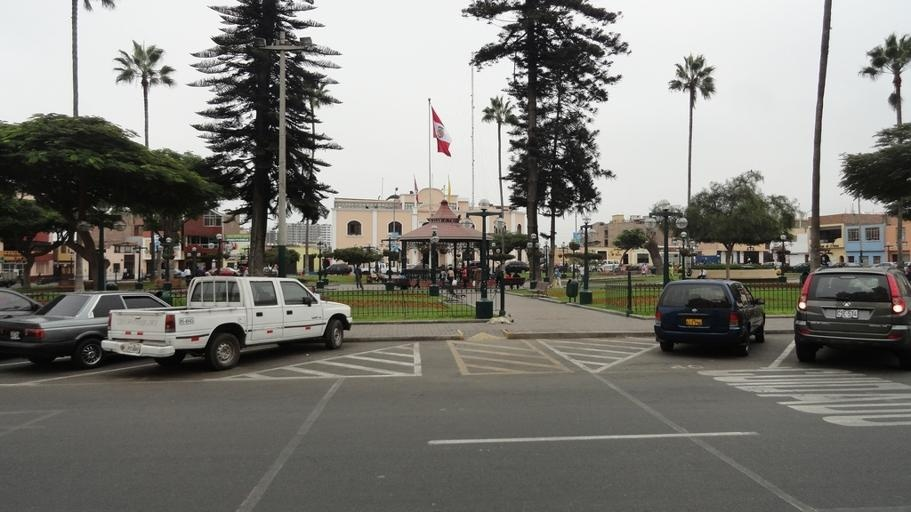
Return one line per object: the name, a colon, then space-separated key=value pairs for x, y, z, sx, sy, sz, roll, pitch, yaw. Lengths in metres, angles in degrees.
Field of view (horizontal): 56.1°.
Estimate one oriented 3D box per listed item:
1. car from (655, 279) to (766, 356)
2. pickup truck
car: x=9.892 y=2.192 z=32.960 sx=2.623 sy=2.433 sz=6.663 roll=0 pitch=0 yaw=31
pickup truck: x=-8.358 y=2.377 z=31.917 sx=8.326 sy=3.277 sz=1.562 roll=-5 pitch=7 yaw=-28
